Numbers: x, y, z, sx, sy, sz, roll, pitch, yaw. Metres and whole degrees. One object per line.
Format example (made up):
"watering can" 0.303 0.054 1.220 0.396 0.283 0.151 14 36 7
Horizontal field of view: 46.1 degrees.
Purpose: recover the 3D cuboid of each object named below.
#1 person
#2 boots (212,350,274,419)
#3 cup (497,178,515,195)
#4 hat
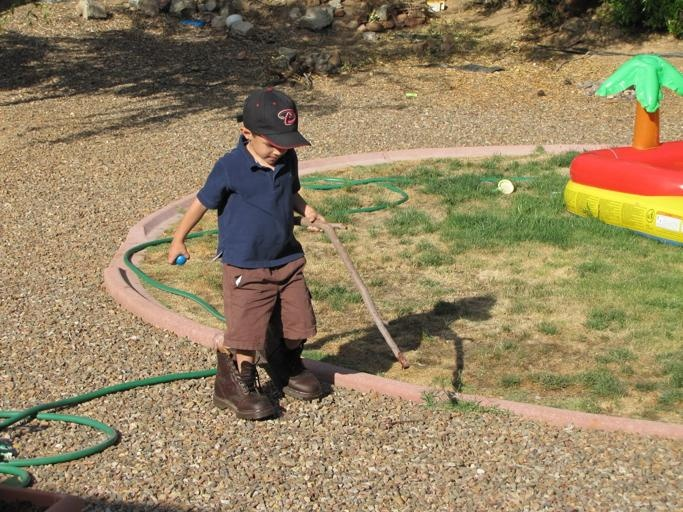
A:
"person" -0.555 0.020 5.602 1.074 2.244 0.882 -20 32 -29
"boots" -0.676 0.948 5.776 0.296 0.383 0.677 -2 4 -37
"cup" 1.982 -0.829 9.593 0.206 0.143 0.269 2 24 10
"hat" -0.432 -0.972 5.487 0.579 0.257 0.360 33 40 27
